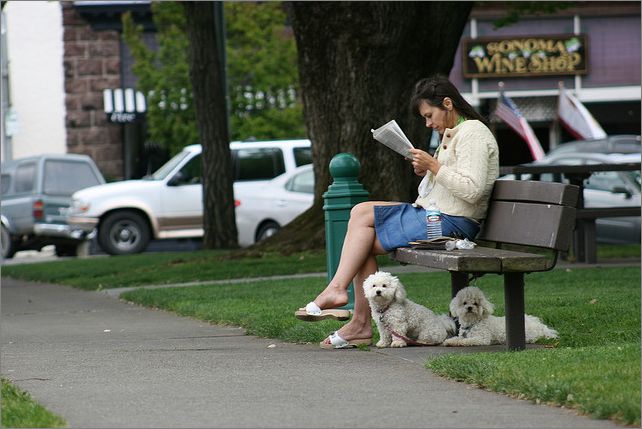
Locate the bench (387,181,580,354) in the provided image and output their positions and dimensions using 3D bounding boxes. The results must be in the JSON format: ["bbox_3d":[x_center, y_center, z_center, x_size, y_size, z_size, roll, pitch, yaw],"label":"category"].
[{"bbox_3d":[2.515,0.680,18.892,1.917,2.387,3.291,0,1,-15],"label":"bench"}]

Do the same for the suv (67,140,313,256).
[{"bbox_3d":[-2.638,-0.542,29.475,6.620,2.633,2.587,-1,12,-11],"label":"suv"}]

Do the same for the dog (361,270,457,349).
[{"bbox_3d":[1.344,1.482,18.687,1.481,1.160,0.707,3,-8,-33],"label":"dog"}]

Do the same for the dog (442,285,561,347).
[{"bbox_3d":[2.752,1.577,18.843,1.871,0.870,0.684,4,2,-30],"label":"dog"}]

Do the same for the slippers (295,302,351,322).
[{"bbox_3d":[0.046,1.488,18.271,0.695,0.224,0.328,3,-10,1],"label":"slippers"}]
